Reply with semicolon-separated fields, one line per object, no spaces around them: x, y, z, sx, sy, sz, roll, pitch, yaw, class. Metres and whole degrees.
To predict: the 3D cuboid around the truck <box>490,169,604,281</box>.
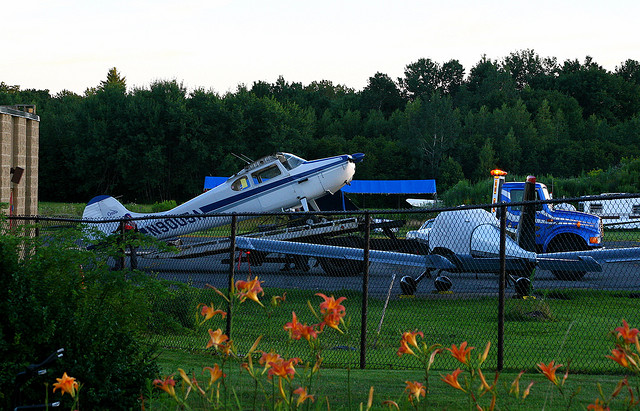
7.235;0.477;20.987;4.523;2.844;2.964;1;2;10;truck

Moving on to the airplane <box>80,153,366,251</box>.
-2.245;-0.347;21.973;4.157;1.244;4.721;-18;10;2;airplane
